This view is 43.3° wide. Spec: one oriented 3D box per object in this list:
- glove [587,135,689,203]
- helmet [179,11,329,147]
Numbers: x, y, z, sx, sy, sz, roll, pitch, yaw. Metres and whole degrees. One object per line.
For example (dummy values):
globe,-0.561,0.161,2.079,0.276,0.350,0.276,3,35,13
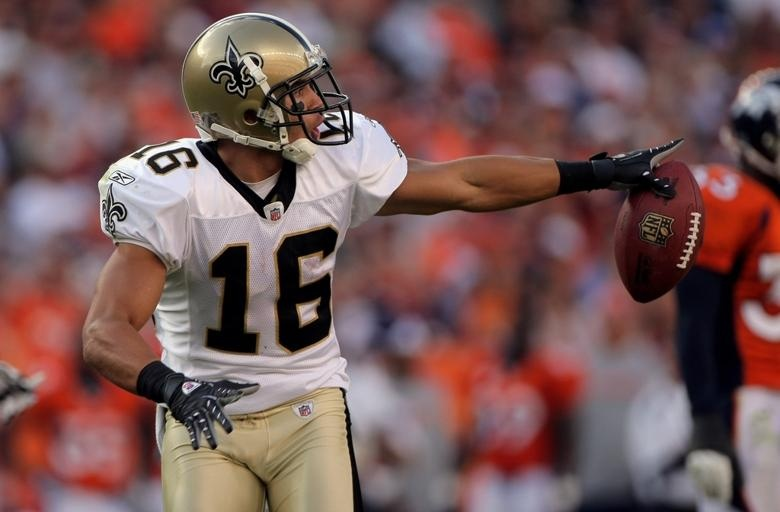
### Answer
glove,0.986,-0.338,3.866,0.272,0.103,0.287,-10,29,-23
helmet,-0.485,-0.702,3.755,0.533,0.451,0.425,-10,25,3
